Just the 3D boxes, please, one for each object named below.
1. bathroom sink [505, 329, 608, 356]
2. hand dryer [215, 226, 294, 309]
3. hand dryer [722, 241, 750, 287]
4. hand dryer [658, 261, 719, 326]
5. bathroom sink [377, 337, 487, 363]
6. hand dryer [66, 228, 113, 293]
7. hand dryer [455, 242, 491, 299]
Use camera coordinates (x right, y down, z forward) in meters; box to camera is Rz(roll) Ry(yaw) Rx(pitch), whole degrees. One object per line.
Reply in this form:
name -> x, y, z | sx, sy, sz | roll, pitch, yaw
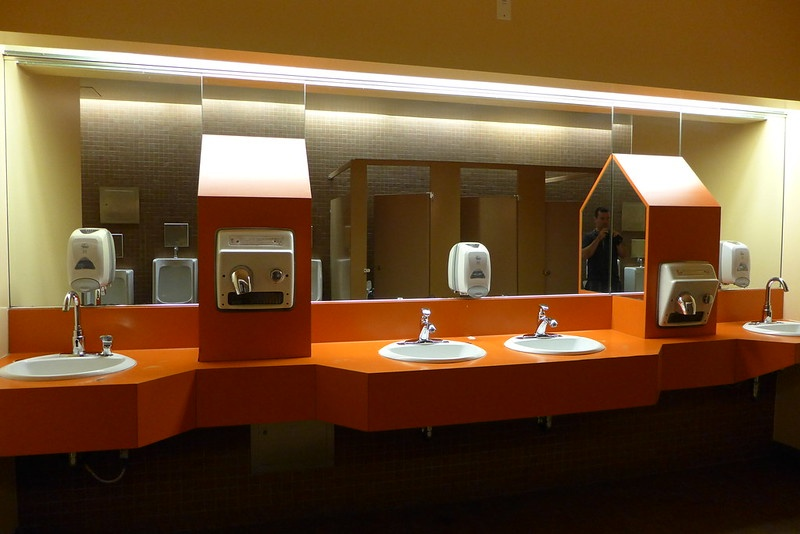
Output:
bathroom sink -> 0.994, 0.522, 4.566 | 0.612, 0.101, 0.471 | -3, 4, -13
hand dryer -> -0.859, -0.001, 4.219 | 0.489, 0.491, 0.265 | -1, 13, -16
hand dryer -> 2.523, -0.016, 5.282 | 0.246, 0.353, 0.157 | -1, 4, 9
hand dryer -> 1.909, 0.170, 4.698 | 0.435, 0.437, 0.225 | 0, 1, -16
bathroom sink -> 0.203, 0.546, 4.400 | 0.674, 0.100, 0.423 | -2, 4, -4
hand dryer -> -1.947, -0.058, 4.461 | 0.250, 0.393, 0.230 | 1, 3, -9
hand dryer -> 0.513, 0.012, 4.845 | 0.231, 0.376, 0.235 | 0, 2, 9
